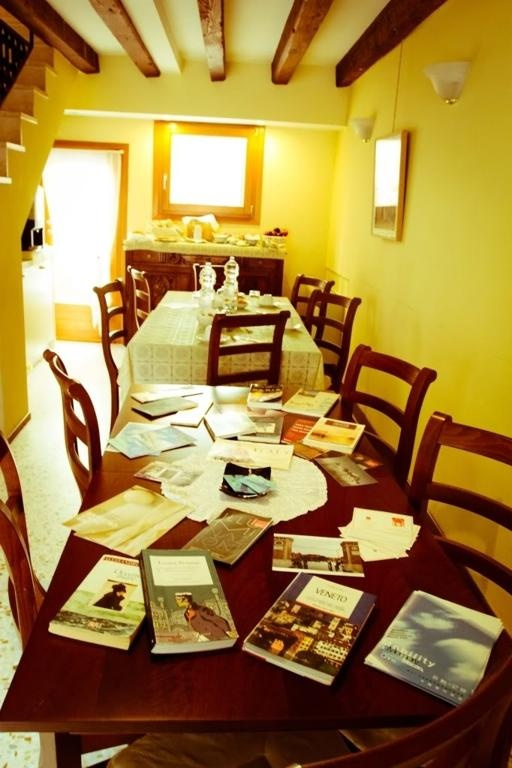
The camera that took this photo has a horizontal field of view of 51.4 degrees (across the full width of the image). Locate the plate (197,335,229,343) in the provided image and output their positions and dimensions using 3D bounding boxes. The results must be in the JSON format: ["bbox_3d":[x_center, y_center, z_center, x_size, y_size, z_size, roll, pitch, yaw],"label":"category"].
[{"bbox_3d":[-0.218,-0.224,2.638,0.077,0.014,0.078,-10,21,-27],"label":"plate"}]

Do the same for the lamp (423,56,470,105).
[{"bbox_3d":[0.792,-1.254,2.184,0.168,0.190,0.169,-6,42,8],"label":"lamp"}]

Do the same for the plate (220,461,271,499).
[{"bbox_3d":[-0.019,0.233,1.284,0.080,0.031,0.082,0,27,-23],"label":"plate"}]

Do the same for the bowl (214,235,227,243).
[{"bbox_3d":[-0.330,-1.392,5.093,0.091,0.059,0.096,0,28,0],"label":"bowl"}]

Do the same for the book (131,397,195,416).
[{"bbox_3d":[-0.302,0.076,1.776,0.116,0.018,0.083,-16,32,-38],"label":"book"}]

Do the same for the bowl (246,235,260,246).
[{"bbox_3d":[-0.035,-1.377,5.107,0.088,0.066,0.091,0,19,0],"label":"bowl"}]

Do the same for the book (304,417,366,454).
[{"bbox_3d":[0.234,0.161,1.620,0.104,0.021,0.117,9,37,18],"label":"book"}]

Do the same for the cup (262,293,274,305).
[{"bbox_3d":[0.087,-0.560,3.534,0.073,0.072,0.075,0,26,0],"label":"cup"}]

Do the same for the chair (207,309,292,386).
[{"bbox_3d":[-0.036,-0.161,2.540,0.244,0.442,0.284,-5,49,-11],"label":"chair"}]

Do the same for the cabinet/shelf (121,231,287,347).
[{"bbox_3d":[-0.406,-0.721,3.889,1.123,1.014,0.411,-2,27,-6],"label":"cabinet/shelf"}]
